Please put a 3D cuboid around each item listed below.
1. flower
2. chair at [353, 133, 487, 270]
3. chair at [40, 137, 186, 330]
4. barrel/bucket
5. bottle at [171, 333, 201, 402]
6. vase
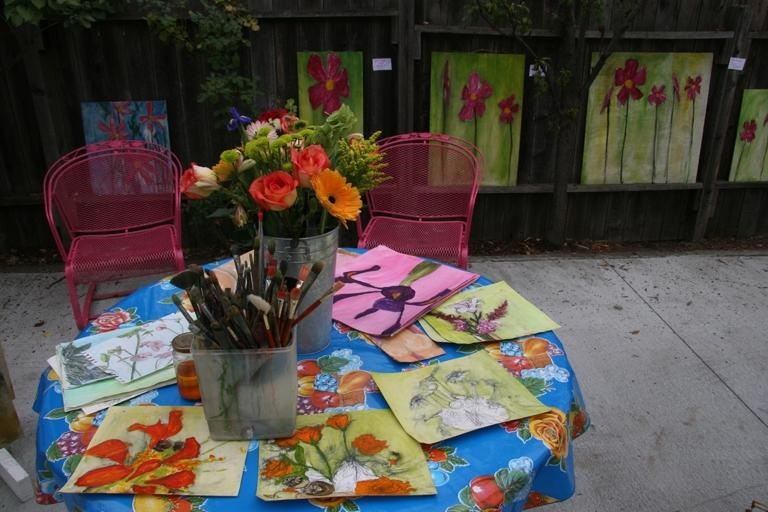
[{"bbox_3d":[-0.372,-0.340,2.123,0.706,0.473,0.461,4,22,10],"label":"flower"},{"bbox_3d":[0.240,-0.375,3.678,0.829,0.988,0.773,2,18,4],"label":"chair"},{"bbox_3d":[-1.814,-0.034,3.839,1.040,1.483,0.884,-6,20,-21],"label":"chair"},{"bbox_3d":[-0.306,0.131,2.126,0.315,0.470,0.300,5,14,-1],"label":"barrel/bucket"},{"bbox_3d":[-0.710,0.405,2.009,0.095,0.236,0.149,-4,18,-19],"label":"bottle"},{"bbox_3d":[-0.354,0.117,2.214,0.324,0.529,0.376,-5,27,-16],"label":"vase"}]
